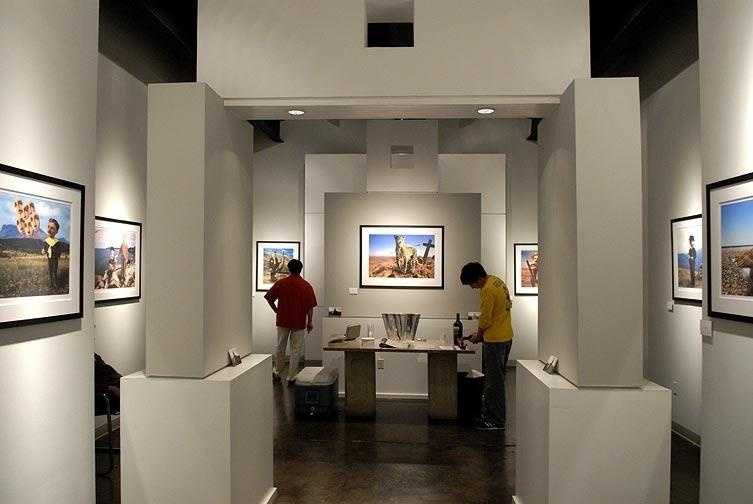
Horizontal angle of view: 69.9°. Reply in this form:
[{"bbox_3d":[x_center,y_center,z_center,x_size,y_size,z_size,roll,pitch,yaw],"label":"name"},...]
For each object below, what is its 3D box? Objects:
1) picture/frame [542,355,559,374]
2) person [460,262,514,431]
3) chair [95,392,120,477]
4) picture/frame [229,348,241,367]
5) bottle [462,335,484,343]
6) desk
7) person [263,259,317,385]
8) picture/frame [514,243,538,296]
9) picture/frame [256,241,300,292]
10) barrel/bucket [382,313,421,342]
[{"bbox_3d":[1.520,0.969,4.667,0.095,0.147,0.053,17,10,32],"label":"picture/frame"},{"bbox_3d":[1.441,1.176,7.000,0.609,2.073,0.652,1,4,12],"label":"person"},{"bbox_3d":[-2.772,1.915,5.646,0.162,0.814,0.225,-4,-3,-17],"label":"chair"},{"bbox_3d":[-1.253,0.924,4.755,0.029,0.126,0.125,-16,-13,24],"label":"picture/frame"},{"bbox_3d":[1.233,1.117,6.888,0.194,0.070,0.145,0,1,15],"label":"bottle"},{"bbox_3d":[0.305,1.687,7.184,1.682,1.026,0.743,0,4,2],"label":"desk"},{"bbox_3d":[-1.399,1.115,8.775,0.771,2.031,1.105,-1,4,-12],"label":"person"},{"bbox_3d":[2.746,0.317,9.960,0.409,0.957,0.233,0,4,4],"label":"picture/frame"},{"bbox_3d":[-1.761,0.256,9.826,0.865,1.044,0.047,1,3,5],"label":"picture/frame"},{"bbox_3d":[0.326,1.020,7.355,0.376,0.261,0.376,-1,-7,0],"label":"barrel/bucket"}]
